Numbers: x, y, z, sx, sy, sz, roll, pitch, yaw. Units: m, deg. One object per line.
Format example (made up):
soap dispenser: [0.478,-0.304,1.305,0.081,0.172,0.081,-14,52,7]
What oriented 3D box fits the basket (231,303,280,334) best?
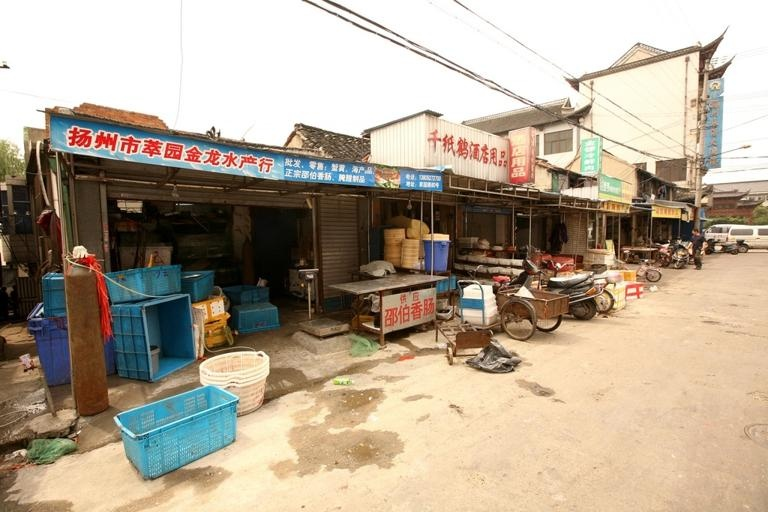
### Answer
basket: [-3.331,1.603,13.809,1.196,0.671,0.605,-4,4,-17]

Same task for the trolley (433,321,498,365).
trolley: [1.854,1.994,12.407,1.036,0.755,1.352,-4,3,-5]

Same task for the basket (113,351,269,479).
basket: [-3.232,2.884,9.986,1.621,1.140,2.816,6,10,42]

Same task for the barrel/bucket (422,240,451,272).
barrel/bucket: [1.233,-0.022,15.005,1.019,0.781,1.010,-4,-1,0]

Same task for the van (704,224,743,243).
van: [22.562,-1.544,35.601,2.183,1.066,1.407,3,5,39]

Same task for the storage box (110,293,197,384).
storage box: [-5.026,1.749,11.500,1.550,1.776,1.371,2,-7,1]

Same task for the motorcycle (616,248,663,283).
motorcycle: [11.015,0.363,22.956,2.565,1.382,1.580,-4,5,-37]

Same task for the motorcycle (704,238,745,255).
motorcycle: [21.987,-0.598,34.986,2.754,1.411,1.230,4,7,34]

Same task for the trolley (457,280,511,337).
trolley: [2.376,1.126,13.458,0.939,1.101,0.949,-1,10,29]
